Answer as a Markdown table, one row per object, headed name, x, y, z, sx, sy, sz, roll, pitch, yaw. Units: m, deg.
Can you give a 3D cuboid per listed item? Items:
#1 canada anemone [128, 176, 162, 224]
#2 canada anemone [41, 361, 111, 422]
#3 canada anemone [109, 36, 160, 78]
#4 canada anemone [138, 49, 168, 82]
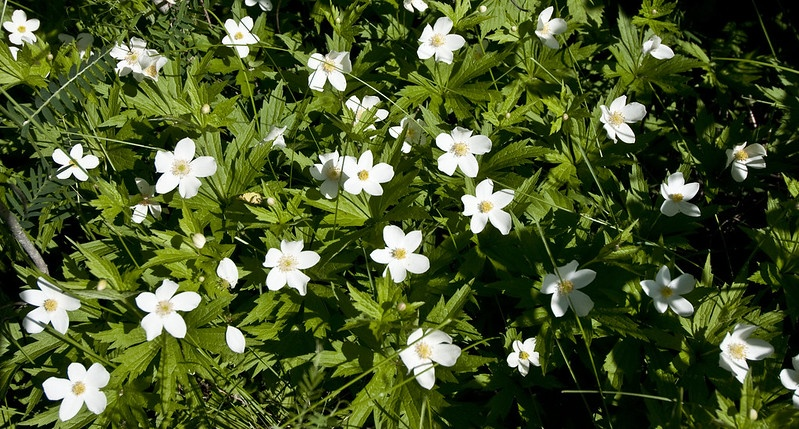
| name | x | y | z | sx | sy | sz | roll | pitch | yaw |
| --- | --- | --- | --- | --- | --- | --- | --- | --- | --- |
| canada anemone | -1.990 | -0.117 | 4.682 | 0.213 | 0.180 | 0.335 | -14 | 72 | -10 |
| canada anemone | -2.303 | 1.241 | 4.320 | 0.437 | 0.121 | 0.431 | -16 | 88 | 8 |
| canada anemone | -2.115 | -1.255 | 4.776 | 0.335 | 0.149 | 0.385 | -17 | 81 | -3 |
| canada anemone | -1.991 | -1.218 | 4.836 | 0.238 | 0.118 | 0.258 | 16 | 100 | -18 |
